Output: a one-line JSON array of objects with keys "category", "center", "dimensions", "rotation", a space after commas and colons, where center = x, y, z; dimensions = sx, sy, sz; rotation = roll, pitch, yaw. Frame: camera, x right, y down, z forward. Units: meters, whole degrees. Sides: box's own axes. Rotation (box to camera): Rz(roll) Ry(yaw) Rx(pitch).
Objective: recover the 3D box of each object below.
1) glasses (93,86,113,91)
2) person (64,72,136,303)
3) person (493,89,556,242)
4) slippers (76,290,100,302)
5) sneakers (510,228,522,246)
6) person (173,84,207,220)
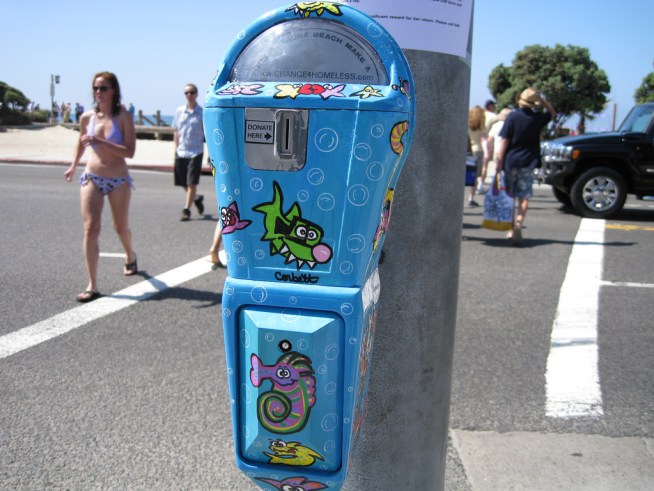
[{"category": "glasses", "center": [-2.000, -1.373, 5.340], "dimensions": [0.151, 0.047, 0.052], "rotation": [5, 16, 14]}, {"category": "person", "center": [-2.020, -0.542, 5.478], "dimensions": [0.586, 1.960, 0.835], "rotation": [-4, 14, -19]}, {"category": "person", "center": [2.476, -1.024, 7.750], "dimensions": [0.786, 1.893, 0.613], "rotation": [-13, 19, -43]}, {"category": "slippers", "center": [-2.121, 0.440, 5.390], "dimensions": [0.205, 0.085, 0.192], "rotation": [-7, 18, -24]}, {"category": "sneakers", "center": [2.373, -0.112, 7.581], "dimensions": [0.075, 0.293, 0.109], "rotation": [-2, 9, 10]}, {"category": "person", "center": [-1.983, -1.268, 8.670], "dimensions": [0.417, 1.983, 0.884], "rotation": [-3, 14, -14]}]
